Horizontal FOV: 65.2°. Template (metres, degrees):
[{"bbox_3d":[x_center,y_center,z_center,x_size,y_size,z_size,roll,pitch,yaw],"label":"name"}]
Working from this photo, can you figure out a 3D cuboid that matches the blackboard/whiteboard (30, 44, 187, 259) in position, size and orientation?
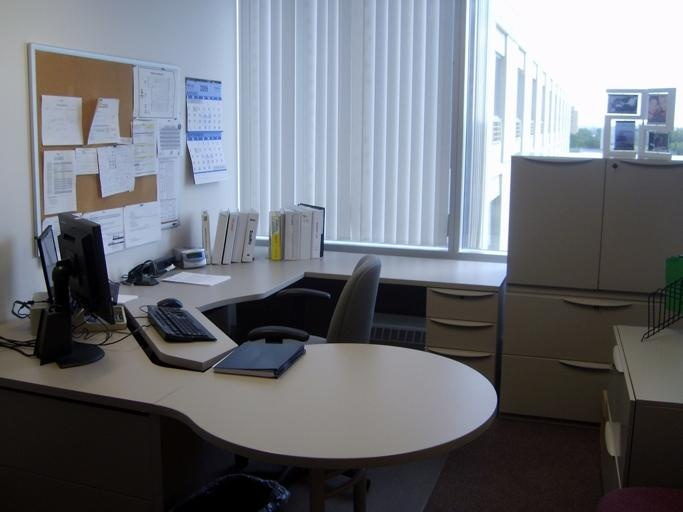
[{"bbox_3d":[-1.417,-0.647,3.192,0.056,1.125,1.247,4,11,21],"label":"blackboard/whiteboard"}]

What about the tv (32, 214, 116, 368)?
[{"bbox_3d":[-1.243,0.181,2.457,0.340,0.733,0.488,-8,16,-41],"label":"tv"}]

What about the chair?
[{"bbox_3d":[-0.172,0.543,3.577,0.952,1.733,1.104,3,3,13],"label":"chair"}]

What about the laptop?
[{"bbox_3d":[-1.260,0.043,2.518,0.128,0.337,0.350,-11,17,-44],"label":"laptop"}]

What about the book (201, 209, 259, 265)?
[{"bbox_3d":[-0.833,-0.075,4.074,0.313,0.489,0.471,8,6,-4],"label":"book"}]
